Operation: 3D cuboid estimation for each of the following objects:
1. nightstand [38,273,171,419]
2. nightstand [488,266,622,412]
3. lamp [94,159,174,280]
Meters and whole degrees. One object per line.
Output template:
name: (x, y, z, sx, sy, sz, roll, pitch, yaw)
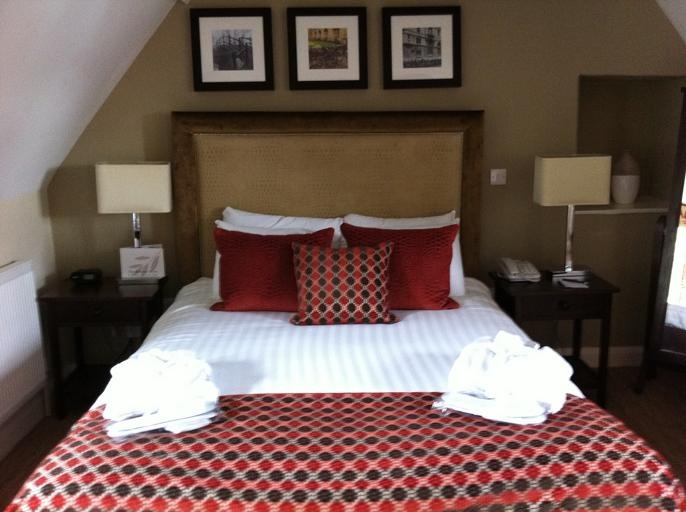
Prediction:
nightstand: (-1.610, 0.556, 3.780, 0.736, 0.759, 0.705, 2, 12, -1)
nightstand: (1.293, 0.562, 3.962, 1.023, 1.162, 0.843, -1, 9, 0)
lamp: (-1.354, -0.228, 3.668, 0.477, 0.779, 0.248, -6, 14, -15)
